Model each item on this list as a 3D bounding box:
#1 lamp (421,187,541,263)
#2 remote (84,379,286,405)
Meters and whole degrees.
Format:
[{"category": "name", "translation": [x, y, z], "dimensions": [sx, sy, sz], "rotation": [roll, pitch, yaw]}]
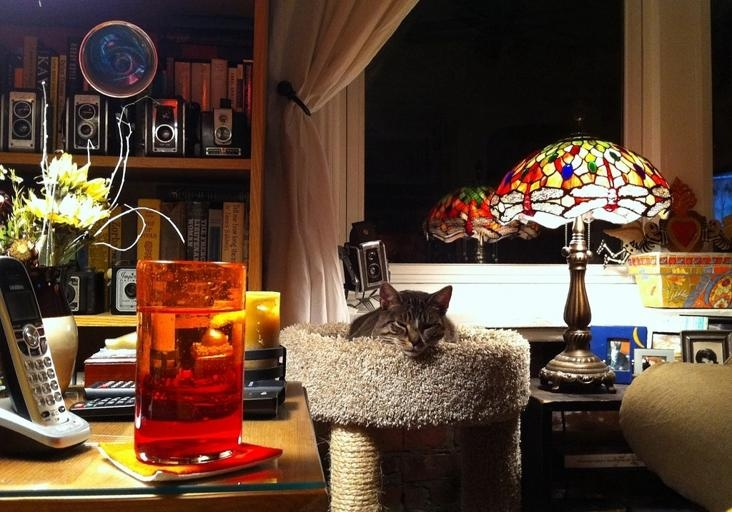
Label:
[{"category": "lamp", "translation": [0.451, -0.105, 2.642], "dimensions": [0.316, 0.309, 0.297], "rotation": [-1, -6, -2]}, {"category": "remote", "translation": [-0.343, 0.257, 1.224], "dimensions": [0.192, 0.032, 0.103], "rotation": [1, -4, -1]}]
